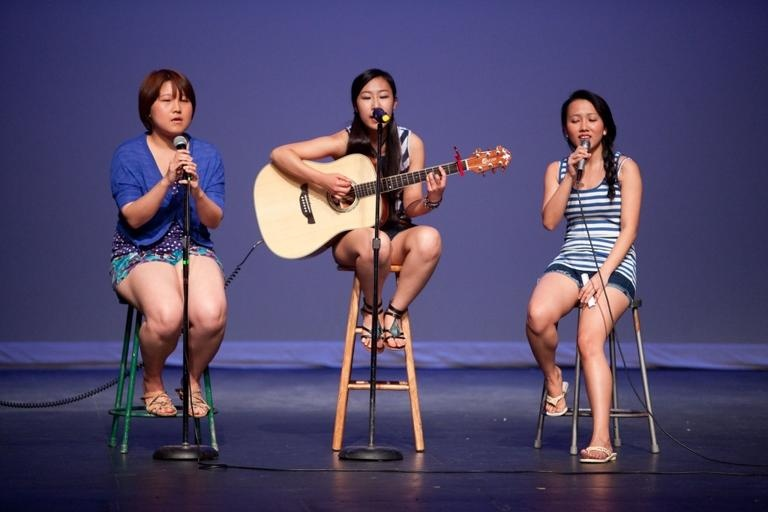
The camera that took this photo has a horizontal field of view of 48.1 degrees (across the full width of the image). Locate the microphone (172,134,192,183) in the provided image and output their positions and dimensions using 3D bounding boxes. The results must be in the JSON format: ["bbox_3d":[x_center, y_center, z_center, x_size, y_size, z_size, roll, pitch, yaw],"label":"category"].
[{"bbox_3d":[-1.088,-0.536,4.692,0.103,0.317,0.087,-9,-25,-4],"label":"microphone"}]

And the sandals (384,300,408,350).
[{"bbox_3d":[0.073,0.402,4.963,0.096,0.287,0.112,-1,-9,-4],"label":"sandals"}]

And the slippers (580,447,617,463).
[{"bbox_3d":[1.167,1.081,4.700,0.185,0.055,0.086,2,-7,-18],"label":"slippers"}]

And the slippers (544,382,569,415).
[{"bbox_3d":[1.021,0.831,5.010,0.106,0.169,0.195,1,0,41],"label":"slippers"}]

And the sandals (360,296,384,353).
[{"bbox_3d":[-0.072,0.385,4.891,0.111,0.327,0.130,-2,-25,-7],"label":"sandals"}]

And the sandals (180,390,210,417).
[{"bbox_3d":[-1.029,0.830,4.814,0.113,0.138,0.123,1,0,-15],"label":"sandals"}]

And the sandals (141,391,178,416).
[{"bbox_3d":[-1.253,0.844,4.839,0.174,0.167,0.256,1,0,-23],"label":"sandals"}]

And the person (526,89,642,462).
[{"bbox_3d":[1.138,0.075,4.954,0.502,1.825,0.543,1,1,31],"label":"person"}]

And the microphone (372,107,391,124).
[{"bbox_3d":[-0.003,-0.779,4.774,0.075,0.062,0.132,1,0,-37],"label":"microphone"}]

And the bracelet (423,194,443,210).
[{"bbox_3d":[0.286,-0.332,5.009,0.090,0.066,0.091,15,-23,36],"label":"bracelet"}]

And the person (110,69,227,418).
[{"bbox_3d":[-1.227,-0.081,4.885,0.697,2.007,0.569,1,1,-2],"label":"person"}]

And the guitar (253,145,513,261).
[{"bbox_3d":[-0.022,-0.302,5.329,1.561,0.657,0.210,-11,-10,11],"label":"guitar"}]

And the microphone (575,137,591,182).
[{"bbox_3d":[1.159,-0.562,5.025,0.079,0.218,0.215,1,0,12],"label":"microphone"}]
